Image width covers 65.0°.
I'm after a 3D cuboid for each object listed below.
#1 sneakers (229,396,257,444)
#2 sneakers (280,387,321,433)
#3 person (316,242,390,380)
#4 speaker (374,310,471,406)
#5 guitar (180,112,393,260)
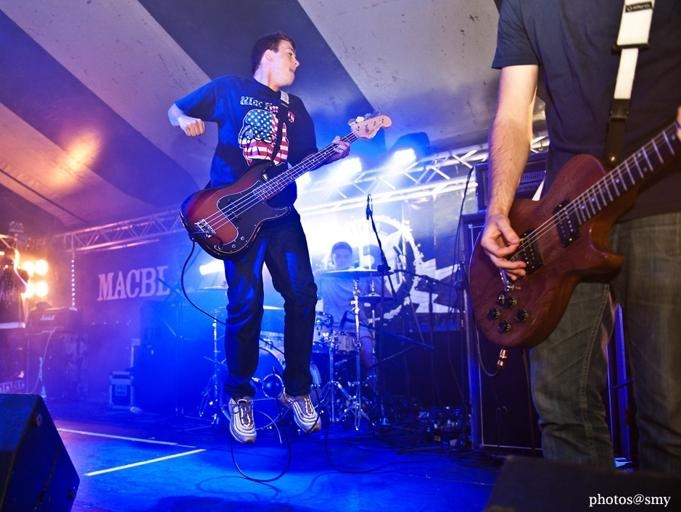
[{"bbox_3d":[-0.637,1.062,3.472,0.160,0.290,0.187,1,-8,-16],"label":"sneakers"},{"bbox_3d":[-0.247,0.999,3.500,0.135,0.174,0.384,-6,34,-40],"label":"sneakers"},{"bbox_3d":[0.168,0.797,7.255,0.981,1.789,1.293,-6,-50,2],"label":"person"},{"bbox_3d":[1.047,1.335,6.738,1.197,1.466,0.710,2,1,15],"label":"speaker"},{"bbox_3d":[-0.362,-0.514,3.590,1.504,0.504,0.189,-38,2,-23],"label":"guitar"}]
